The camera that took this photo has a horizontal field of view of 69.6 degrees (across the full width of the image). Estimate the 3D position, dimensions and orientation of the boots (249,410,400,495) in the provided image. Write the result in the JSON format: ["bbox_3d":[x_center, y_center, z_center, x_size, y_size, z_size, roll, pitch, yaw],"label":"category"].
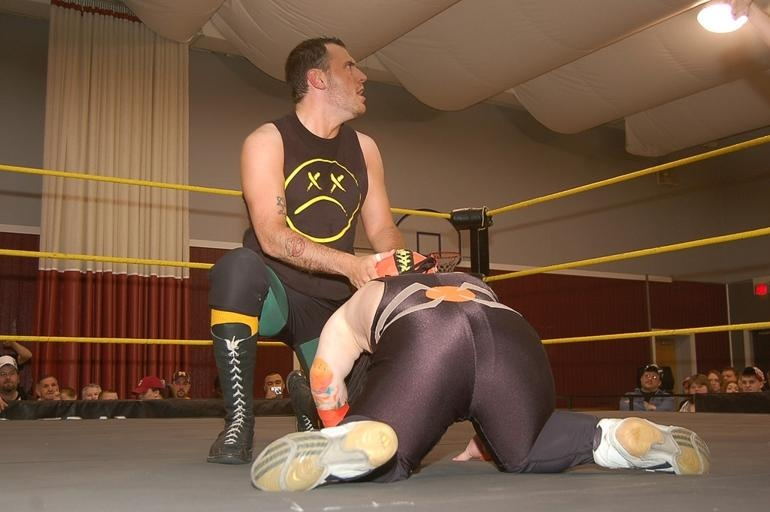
[{"bbox_3d":[-0.159,0.478,1.392,0.130,0.137,0.345,4,-10,35],"label":"boots"}]

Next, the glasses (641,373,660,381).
[{"bbox_3d":[2.607,1.175,5.459,0.086,0.063,0.109,-5,3,-1],"label":"glasses"}]

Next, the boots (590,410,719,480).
[{"bbox_3d":[0.691,0.488,1.470,0.362,0.119,0.161,3,-9,-1],"label":"boots"}]

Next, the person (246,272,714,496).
[{"bbox_3d":[0.183,0.359,1.442,0.769,0.321,0.800,-1,0,-12],"label":"person"}]

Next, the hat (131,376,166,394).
[{"bbox_3d":[-2.278,1.230,5.319,0.283,0.152,0.177,2,-9,-6],"label":"hat"}]
